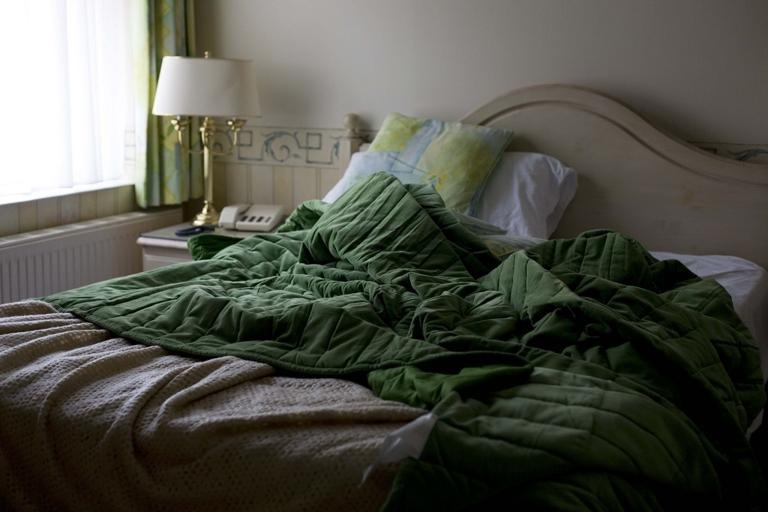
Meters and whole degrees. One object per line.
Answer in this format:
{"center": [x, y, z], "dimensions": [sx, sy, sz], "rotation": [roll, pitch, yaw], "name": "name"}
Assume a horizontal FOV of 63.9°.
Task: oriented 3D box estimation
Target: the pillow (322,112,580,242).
{"center": [0.415, -0.421, 3.037], "dimensions": [0.778, 0.219, 0.825], "rotation": [26, 55, 28], "name": "pillow"}
